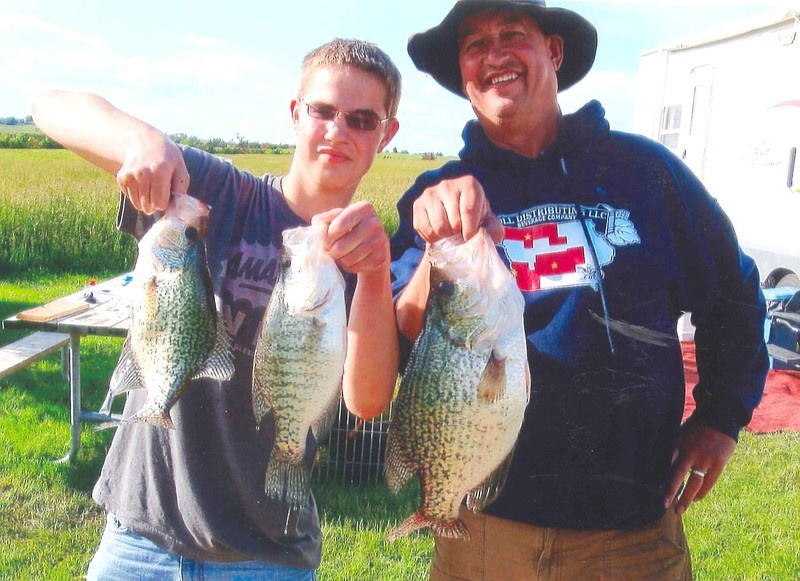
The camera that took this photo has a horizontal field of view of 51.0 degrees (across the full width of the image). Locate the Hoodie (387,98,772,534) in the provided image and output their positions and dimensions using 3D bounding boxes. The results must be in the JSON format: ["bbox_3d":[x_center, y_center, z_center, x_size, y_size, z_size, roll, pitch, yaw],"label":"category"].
[{"bbox_3d":[0.893,0.070,5.253,2.305,3.236,1.792,-5,-7,43],"label":"Hoodie"}]

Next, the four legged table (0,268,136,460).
[{"bbox_3d":[-2.594,0.582,6.469,0.593,0.689,1.256,3,9,-4],"label":"four legged table"}]
